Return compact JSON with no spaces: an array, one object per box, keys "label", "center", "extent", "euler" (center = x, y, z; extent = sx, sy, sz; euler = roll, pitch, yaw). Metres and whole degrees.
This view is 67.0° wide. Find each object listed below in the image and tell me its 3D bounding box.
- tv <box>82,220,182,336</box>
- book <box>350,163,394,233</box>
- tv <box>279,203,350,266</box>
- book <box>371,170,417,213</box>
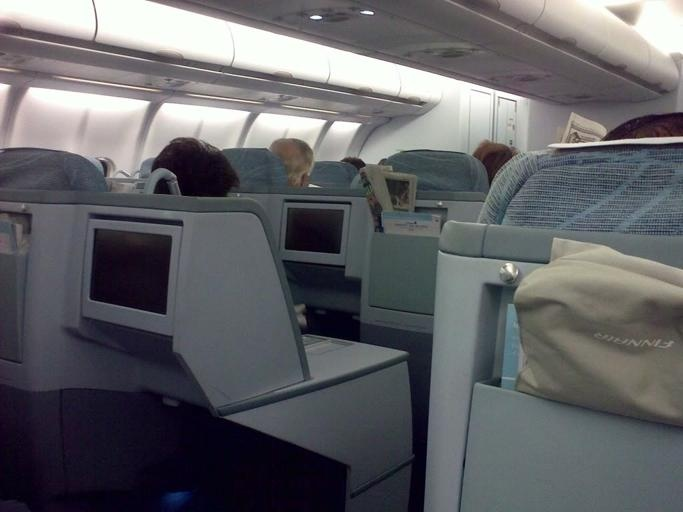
[{"label":"tv","center":[-0.501,0.046,1.253],"extent":[0.399,0.313,0.039],"euler":[5,-2,31]},{"label":"book","center":[0.158,-0.255,2.254],"extent":[0.065,0.251,0.244],"euler":[-5,12,-33]},{"label":"tv","center":[-0.133,-0.162,2.473],"extent":[0.355,0.294,0.203],"euler":[5,32,-2]},{"label":"book","center":[0.204,-0.271,2.332],"extent":[0.155,0.194,0.276],"euler":[-3,2,38]}]
